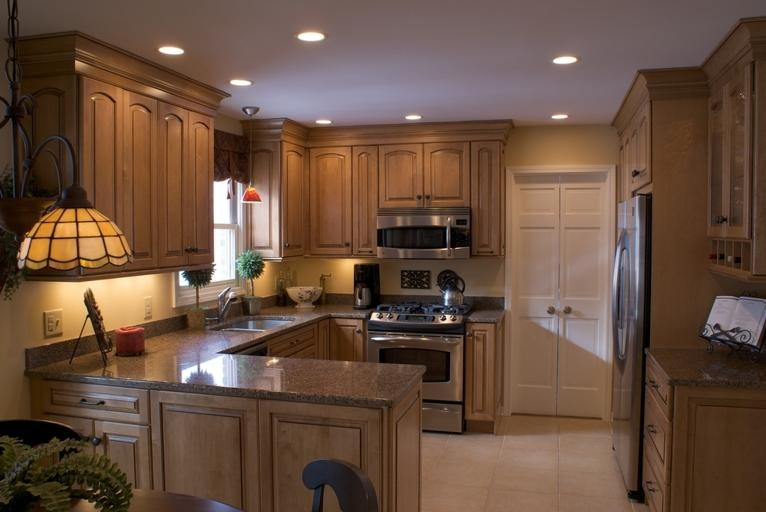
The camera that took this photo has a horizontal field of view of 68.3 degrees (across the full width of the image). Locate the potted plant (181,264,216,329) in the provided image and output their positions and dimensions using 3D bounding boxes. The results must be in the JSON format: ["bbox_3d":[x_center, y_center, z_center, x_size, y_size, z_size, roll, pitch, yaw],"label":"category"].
[{"bbox_3d":[-1.483,0.326,4.548,0.219,0.541,0.531,-3,6,-28],"label":"potted plant"}]

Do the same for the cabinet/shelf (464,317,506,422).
[{"bbox_3d":[0.969,1.082,5.383,0.285,1.068,0.508,2,6,21],"label":"cabinet/shelf"}]

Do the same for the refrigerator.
[{"bbox_3d":[1.860,0.648,4.260,0.187,2.230,0.590,1,6,15],"label":"refrigerator"}]

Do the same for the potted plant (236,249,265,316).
[{"bbox_3d":[-1.252,0.243,5.337,0.248,0.582,0.360,-1,6,-13],"label":"potted plant"}]

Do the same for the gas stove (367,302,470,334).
[{"bbox_3d":[0.327,0.612,5.307,0.915,0.207,0.262,1,6,14],"label":"gas stove"}]

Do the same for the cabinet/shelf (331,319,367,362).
[{"bbox_3d":[-0.333,0.810,5.426,0.382,0.550,0.387,-1,-5,11],"label":"cabinet/shelf"}]

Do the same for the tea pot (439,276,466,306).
[{"bbox_3d":[0.679,0.357,5.530,0.292,0.303,0.213,1,-4,-9],"label":"tea pot"}]

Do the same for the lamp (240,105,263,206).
[{"bbox_3d":[-1.185,-0.884,5.082,0.178,0.824,0.610,-1,6,-13],"label":"lamp"}]

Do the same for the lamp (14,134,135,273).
[{"bbox_3d":[-1.224,-0.212,2.267,0.440,0.504,0.440,0,2,23],"label":"lamp"}]

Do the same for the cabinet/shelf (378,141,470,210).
[{"bbox_3d":[0.314,-0.810,5.728,1.015,0.669,0.493,-7,14,-23],"label":"cabinet/shelf"}]

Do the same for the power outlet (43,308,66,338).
[{"bbox_3d":[-2.103,0.430,3.601,0.031,0.207,0.180,0,6,21],"label":"power outlet"}]

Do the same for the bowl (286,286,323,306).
[{"bbox_3d":[-0.781,0.397,5.703,0.233,0.108,0.228,-2,-1,0],"label":"bowl"}]

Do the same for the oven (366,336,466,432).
[{"bbox_3d":[0.253,1.272,5.430,0.938,1.006,0.720,7,-25,-11],"label":"oven"}]

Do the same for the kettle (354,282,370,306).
[{"bbox_3d":[-0.203,0.406,5.687,0.197,0.259,0.197,0,-5,0],"label":"kettle"}]

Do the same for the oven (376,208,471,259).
[{"bbox_3d":[0.384,-0.219,5.479,0.899,0.490,0.204,0,6,2],"label":"oven"}]
